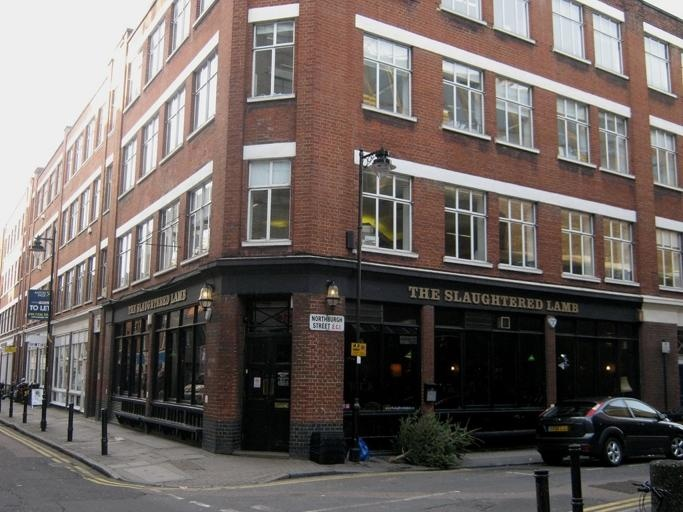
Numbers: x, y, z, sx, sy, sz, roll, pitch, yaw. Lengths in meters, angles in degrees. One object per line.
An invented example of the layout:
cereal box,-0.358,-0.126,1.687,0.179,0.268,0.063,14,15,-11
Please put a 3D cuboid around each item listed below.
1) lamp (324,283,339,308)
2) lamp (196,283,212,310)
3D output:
lamp,-0.188,1.244,23.903,0.364,0.822,0.593,5,6,44
lamp,-4.386,1.328,24.872,0.415,0.856,0.608,0,4,-9
